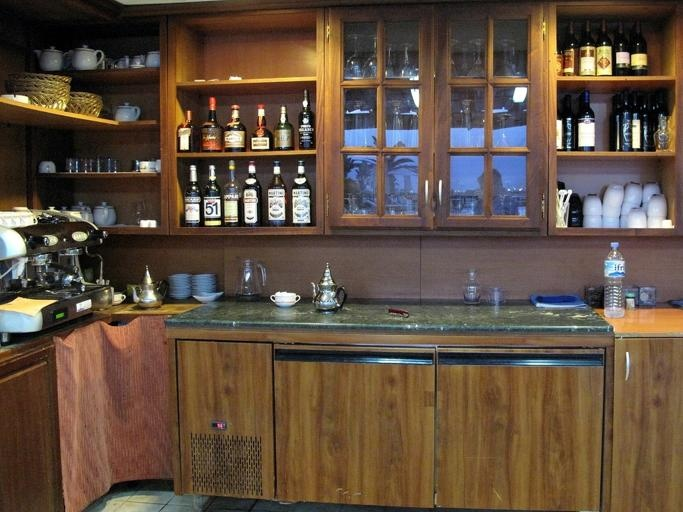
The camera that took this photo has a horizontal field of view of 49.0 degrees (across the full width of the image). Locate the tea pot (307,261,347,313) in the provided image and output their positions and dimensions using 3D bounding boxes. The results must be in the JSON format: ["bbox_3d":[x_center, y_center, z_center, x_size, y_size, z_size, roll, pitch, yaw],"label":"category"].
[{"bbox_3d":[-0.083,0.190,4.427,0.304,0.279,0.199,4,6,28],"label":"tea pot"}]

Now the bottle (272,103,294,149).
[{"bbox_3d":[-0.355,-0.781,4.579,0.120,0.291,0.279,-1,5,-4],"label":"bottle"}]

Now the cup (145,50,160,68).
[{"bbox_3d":[-1.161,-1.194,4.597,0.111,0.093,0.105,2,2,0],"label":"cup"}]

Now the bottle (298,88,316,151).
[{"bbox_3d":[-0.210,-0.820,4.499,0.099,0.369,0.156,-1,5,-3],"label":"bottle"}]

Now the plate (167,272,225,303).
[{"bbox_3d":[-0.933,0.196,4.745,0.329,0.159,0.242,-1,5,-12],"label":"plate"}]

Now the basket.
[{"bbox_3d":[-1.669,-0.937,4.364,0.209,0.228,0.591,4,6,42],"label":"basket"}]

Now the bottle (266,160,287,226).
[{"bbox_3d":[-0.399,-0.386,4.621,0.127,0.383,0.266,-1,5,-5],"label":"bottle"}]

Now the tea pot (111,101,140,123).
[{"bbox_3d":[-1.345,-0.903,4.694,0.165,0.102,0.118,2,7,0],"label":"tea pot"}]

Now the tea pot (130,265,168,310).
[{"bbox_3d":[-1.190,0.227,4.629,0.193,0.251,0.278,-1,0,38],"label":"tea pot"}]

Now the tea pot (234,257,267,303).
[{"bbox_3d":[-0.536,0.132,4.646,0.169,0.254,0.339,1,5,13],"label":"tea pot"}]

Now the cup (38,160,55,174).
[{"bbox_3d":[-1.822,-0.547,4.632,0.090,0.072,0.083,0,2,0],"label":"cup"}]

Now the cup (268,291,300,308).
[{"bbox_3d":[-0.339,0.250,4.490,0.167,0.083,0.236,-1,5,-5],"label":"cup"}]

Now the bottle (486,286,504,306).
[{"bbox_3d":[0.941,0.244,4.542,0.118,0.109,0.109,0,2,-4],"label":"bottle"}]

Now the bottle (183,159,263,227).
[{"bbox_3d":[-0.727,-0.379,4.618,0.498,0.357,0.113,0,2,-1],"label":"bottle"}]

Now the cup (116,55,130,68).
[{"bbox_3d":[-1.337,-1.190,4.624,0.097,0.082,0.071,4,17,10],"label":"cup"}]

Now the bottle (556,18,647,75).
[{"bbox_3d":[1.519,-1.215,4.382,0.422,0.351,0.082,0,-3,-6],"label":"bottle"}]

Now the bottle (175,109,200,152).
[{"bbox_3d":[-0.941,-0.767,4.615,0.092,0.273,0.185,1,5,11],"label":"bottle"}]

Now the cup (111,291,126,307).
[{"bbox_3d":[-1.381,0.259,4.642,0.082,0.050,0.059,1,2,-10],"label":"cup"}]

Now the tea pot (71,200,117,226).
[{"bbox_3d":[-1.559,-0.263,4.746,0.254,0.154,0.146,1,4,5],"label":"tea pot"}]

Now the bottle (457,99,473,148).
[{"bbox_3d":[0.710,-0.761,4.303,0.064,0.269,0.020,-1,5,-3],"label":"bottle"}]

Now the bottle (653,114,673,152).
[{"bbox_3d":[1.865,-0.719,4.361,0.094,0.208,0.024,1,5,21],"label":"bottle"}]

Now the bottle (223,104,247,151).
[{"bbox_3d":[-0.656,-0.774,4.575,0.134,0.278,0.124,0,5,0],"label":"bottle"}]

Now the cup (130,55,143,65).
[{"bbox_3d":[-1.262,-1.207,4.630,0.082,0.047,0.058,2,6,3],"label":"cup"}]

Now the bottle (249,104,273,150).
[{"bbox_3d":[-0.485,-0.777,4.565,0.123,0.282,0.172,-1,5,-3],"label":"bottle"}]

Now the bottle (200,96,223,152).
[{"bbox_3d":[-0.810,-0.815,4.646,0.139,0.347,0.293,-1,5,-10],"label":"bottle"}]

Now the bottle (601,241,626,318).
[{"bbox_3d":[1.604,0.122,4.425,0.128,0.410,0.452,1,5,20],"label":"bottle"}]
